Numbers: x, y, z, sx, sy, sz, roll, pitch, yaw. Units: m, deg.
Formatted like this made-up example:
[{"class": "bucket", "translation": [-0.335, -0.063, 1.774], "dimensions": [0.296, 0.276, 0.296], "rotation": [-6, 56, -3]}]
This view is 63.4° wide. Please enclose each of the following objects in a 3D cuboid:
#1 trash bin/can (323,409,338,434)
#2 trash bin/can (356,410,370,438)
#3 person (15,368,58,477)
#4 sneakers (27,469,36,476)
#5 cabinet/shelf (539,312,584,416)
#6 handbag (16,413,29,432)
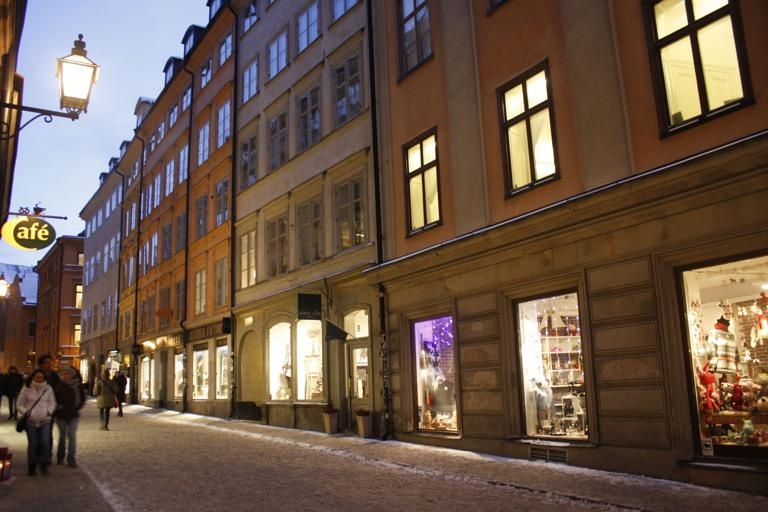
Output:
[{"class": "trash bin/can", "translation": [-1.739, 5.264, 19.854], "dimensions": [0.470, 0.794, 0.335], "rotation": [-2, -16, 1]}, {"class": "trash bin/can", "translation": [-0.635, 4.977, 18.526], "dimensions": [0.479, 0.828, 0.277], "rotation": [-6, -17, 17]}, {"class": "person", "translation": [-7.402, 3.508, 13.181], "dimensions": [0.764, 2.168, 0.601], "rotation": [5, -17, -22]}, {"class": "sneakers", "translation": [-7.317, 4.470, 12.884], "dimensions": [0.147, 0.177, 0.360], "rotation": [8, -19, -29]}, {"class": "cabinet/shelf", "translation": [4.000, 2.428, 14.021], "dimensions": [0.364, 2.326, 1.209], "rotation": [7, -18, -27]}, {"class": "handbag", "translation": [-7.713, 3.556, 13.237], "dimensions": [0.183, 0.327, 0.798], "rotation": [8, -19, -28]}]
